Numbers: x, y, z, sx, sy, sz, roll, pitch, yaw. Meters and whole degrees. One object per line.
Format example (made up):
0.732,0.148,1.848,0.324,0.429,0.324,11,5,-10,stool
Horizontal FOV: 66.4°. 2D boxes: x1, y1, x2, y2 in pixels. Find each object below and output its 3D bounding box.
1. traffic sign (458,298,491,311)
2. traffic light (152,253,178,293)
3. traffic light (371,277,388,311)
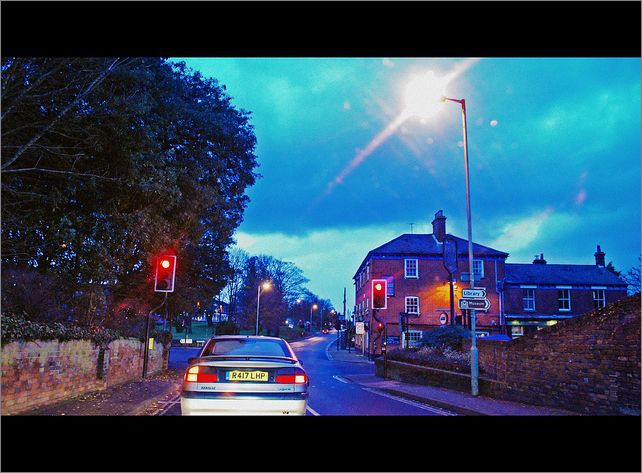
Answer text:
5.090,2.255,16.312,0.984,0.408,0.847,-1,-5,27,traffic sign
-5.612,1.387,17.594,0.607,1.376,0.444,4,-24,-18,traffic light
2.655,2.653,22.192,0.568,1.306,1.191,1,-4,4,traffic light
